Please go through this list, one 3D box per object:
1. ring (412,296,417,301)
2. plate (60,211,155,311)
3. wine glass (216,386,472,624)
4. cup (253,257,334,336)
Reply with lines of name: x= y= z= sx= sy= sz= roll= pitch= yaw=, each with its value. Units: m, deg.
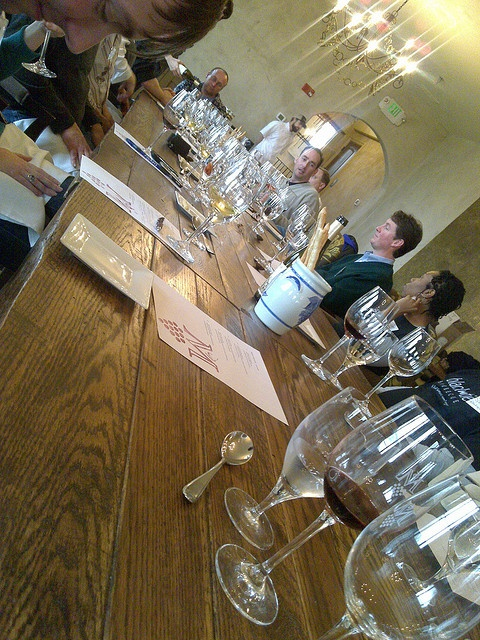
ring: x=1.154 y=-0.142 z=2.724 sx=0.022 sy=0.022 sz=0.023 roll=15 pitch=7 yaw=-2
plate: x=-0.168 y=-0.051 z=0.521 sx=0.127 sy=0.017 sz=0.089 roll=49 pitch=20 yaw=-18
wine glass: x=0.089 y=0.175 z=0.381 sx=0.077 sy=0.189 sz=0.074 roll=45 pitch=8 yaw=-18
cup: x=0.123 y=-0.065 z=0.974 sx=0.137 sy=0.188 sz=0.152 roll=41 pitch=18 yaw=-16
